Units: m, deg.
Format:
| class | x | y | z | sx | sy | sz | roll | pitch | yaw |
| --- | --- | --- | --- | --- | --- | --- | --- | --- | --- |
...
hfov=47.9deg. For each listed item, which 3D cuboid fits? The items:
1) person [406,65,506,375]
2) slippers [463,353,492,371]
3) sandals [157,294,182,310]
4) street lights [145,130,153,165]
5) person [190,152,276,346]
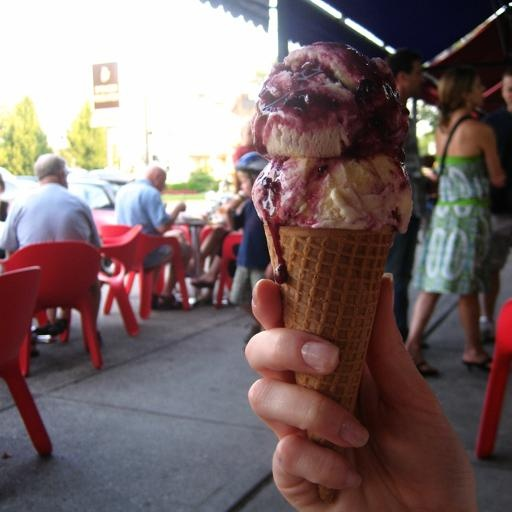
| class | x | y | z | sx | sy | sz | roll | pitch | yaw |
| --- | --- | --- | --- | --- | --- | --- | --- | --- | --- |
| person | 1.289 | -0.239 | 3.855 | 0.575 | 2.189 | 0.540 | 9 | 15 | 44 |
| slippers | 1.514 | 0.717 | 3.902 | 0.228 | 0.072 | 0.085 | -9 | 1 | 30 |
| sandals | -0.425 | 0.225 | 2.771 | 0.040 | 0.045 | 0.113 | 0 | -1 | 22 |
| street lights | -0.482 | -0.490 | 2.573 | 0.025 | 0.148 | 0.057 | 1 | 13 | 10 |
| person | -0.149 | -0.087 | 4.066 | 0.411 | 1.366 | 0.426 | -9 | 14 | -36 |
